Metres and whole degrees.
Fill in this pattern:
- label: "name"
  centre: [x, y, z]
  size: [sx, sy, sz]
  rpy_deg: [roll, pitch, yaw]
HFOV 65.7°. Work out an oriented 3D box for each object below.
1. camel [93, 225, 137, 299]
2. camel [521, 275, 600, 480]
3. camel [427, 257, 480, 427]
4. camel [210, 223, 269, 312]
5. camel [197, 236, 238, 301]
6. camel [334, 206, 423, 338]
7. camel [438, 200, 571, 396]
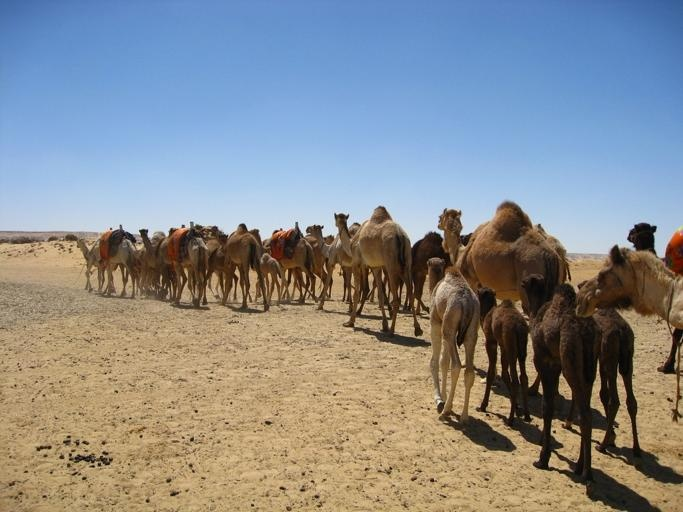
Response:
- label: "camel"
  centre: [-8.777, 0.246, 20.639]
  size: [1.280, 3.107, 3.836]
  rpy_deg: [-4, 12, -26]
- label: "camel"
  centre: [2.750, 1.495, 6.801]
  size: [1.171, 2.344, 1.394]
  rpy_deg: [2, 3, 4]
- label: "camel"
  centre: [1.652, 1.281, 8.029]
  size: [0.640, 2.157, 1.536]
  rpy_deg: [2, 11, 4]
- label: "camel"
  centre: [-3.047, 0.415, 16.485]
  size: [1.376, 3.223, 3.814]
  rpy_deg: [-1, 12, -13]
- label: "camel"
  centre: [-4.289, 0.199, 18.228]
  size: [1.082, 2.978, 1.248]
  rpy_deg: [2, 3, 36]
- label: "camel"
  centre: [0.849, 0.309, 13.035]
  size: [0.937, 2.909, 2.416]
  rpy_deg: [-3, 12, -21]
- label: "camel"
  centre: [2.519, 0.835, 8.213]
  size: [1.640, 3.327, 2.367]
  rpy_deg: [0, 2, 29]
